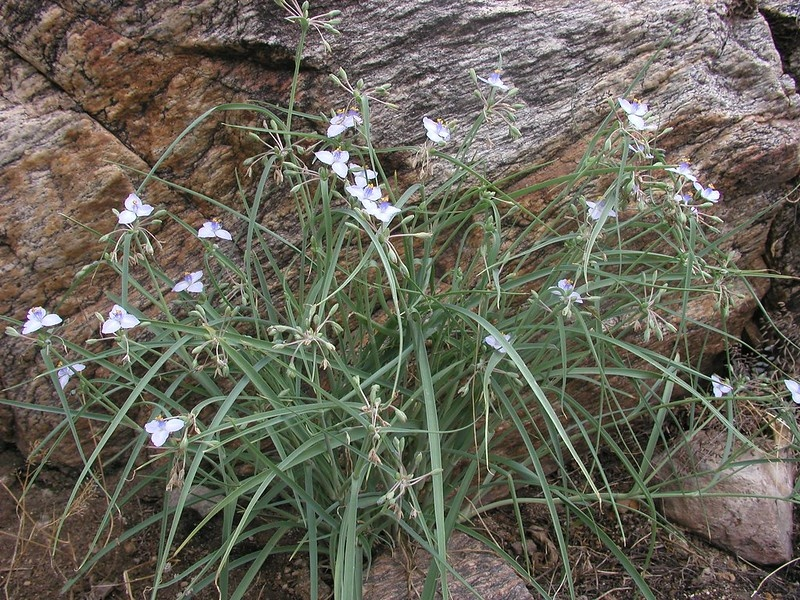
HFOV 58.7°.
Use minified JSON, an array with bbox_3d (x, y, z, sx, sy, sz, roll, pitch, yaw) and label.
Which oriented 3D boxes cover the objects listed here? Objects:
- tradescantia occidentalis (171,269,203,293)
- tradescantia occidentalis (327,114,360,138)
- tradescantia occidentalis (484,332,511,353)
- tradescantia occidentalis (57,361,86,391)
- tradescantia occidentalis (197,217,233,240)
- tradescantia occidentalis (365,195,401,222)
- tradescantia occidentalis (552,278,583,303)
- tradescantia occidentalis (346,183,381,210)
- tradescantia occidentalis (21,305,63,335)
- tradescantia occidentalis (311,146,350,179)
[{"bbox_3d":[-0.782,-0.062,2.641,0.108,0.059,0.091,-13,63,24],"label":"tradescantia occidentalis"},{"bbox_3d":[-0.200,-0.626,2.507,0.095,0.052,0.098,-26,58,-11],"label":"tradescantia occidentalis"},{"bbox_3d":[0.319,0.150,2.413,0.053,0.024,0.079,3,25,15],"label":"tradescantia occidentalis"},{"bbox_3d":[-1.132,0.250,2.464,0.101,0.044,0.109,-7,39,15],"label":"tradescantia occidentalis"},{"bbox_3d":[-0.704,-0.266,2.693,0.106,0.077,0.138,-14,26,-32],"label":"tradescantia occidentalis"},{"bbox_3d":[-0.054,-0.300,2.286,0.095,0.049,0.098,31,47,20],"label":"tradescantia occidentalis"},{"bbox_3d":[0.574,-0.031,2.425,0.059,0.089,0.097,17,-2,-20],"label":"tradescantia occidentalis"},{"bbox_3d":[-0.118,-0.336,2.362,0.105,0.065,0.079,-31,72,-27],"label":"tradescantia occidentalis"},{"bbox_3d":[-1.288,0.071,2.562,0.107,0.063,0.088,-4,42,0],"label":"tradescantia occidentalis"},{"bbox_3d":[-0.226,-0.483,2.418,0.094,0.062,0.127,8,45,-23],"label":"tradescantia occidentalis"}]
